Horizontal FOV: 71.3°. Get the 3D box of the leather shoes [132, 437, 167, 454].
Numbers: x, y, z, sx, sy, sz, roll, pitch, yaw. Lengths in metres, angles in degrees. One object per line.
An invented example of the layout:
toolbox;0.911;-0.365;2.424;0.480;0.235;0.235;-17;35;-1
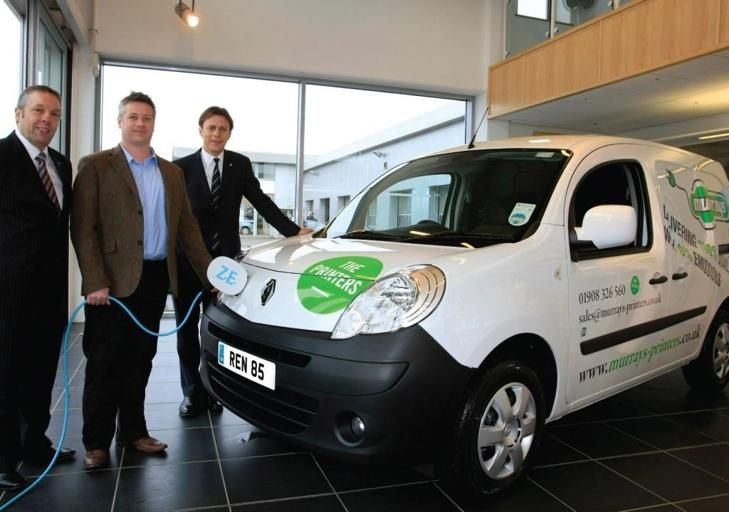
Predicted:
leather shoes;-1.223;1.052;2.865;0.167;0.071;0.085;0;1;17
